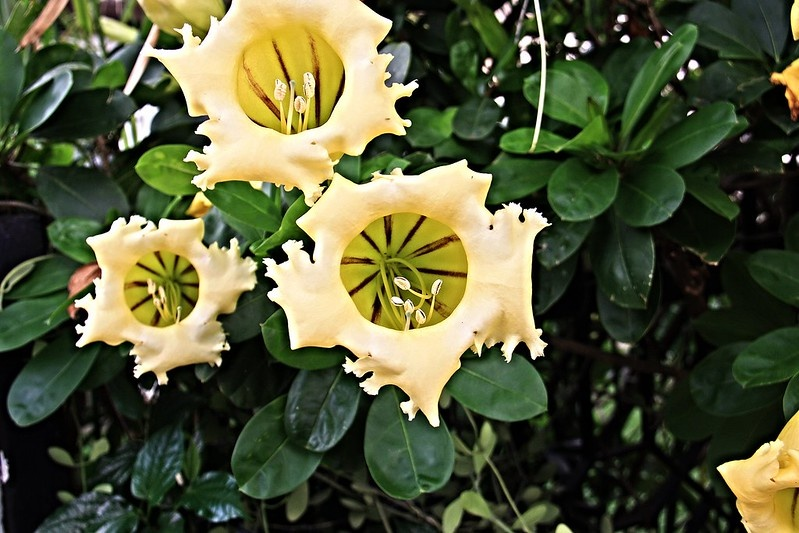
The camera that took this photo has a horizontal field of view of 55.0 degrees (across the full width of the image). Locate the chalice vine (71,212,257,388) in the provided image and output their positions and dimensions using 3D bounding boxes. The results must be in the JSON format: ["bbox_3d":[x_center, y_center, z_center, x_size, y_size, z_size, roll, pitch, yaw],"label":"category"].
[{"bbox_3d":[-0.616,0.091,2.054,0.398,0.328,0.423,23,72,6],"label":"chalice vine"}]

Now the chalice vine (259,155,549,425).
[{"bbox_3d":[0.031,0.100,1.969,0.690,0.451,0.569,-5,71,-3],"label":"chalice vine"}]
